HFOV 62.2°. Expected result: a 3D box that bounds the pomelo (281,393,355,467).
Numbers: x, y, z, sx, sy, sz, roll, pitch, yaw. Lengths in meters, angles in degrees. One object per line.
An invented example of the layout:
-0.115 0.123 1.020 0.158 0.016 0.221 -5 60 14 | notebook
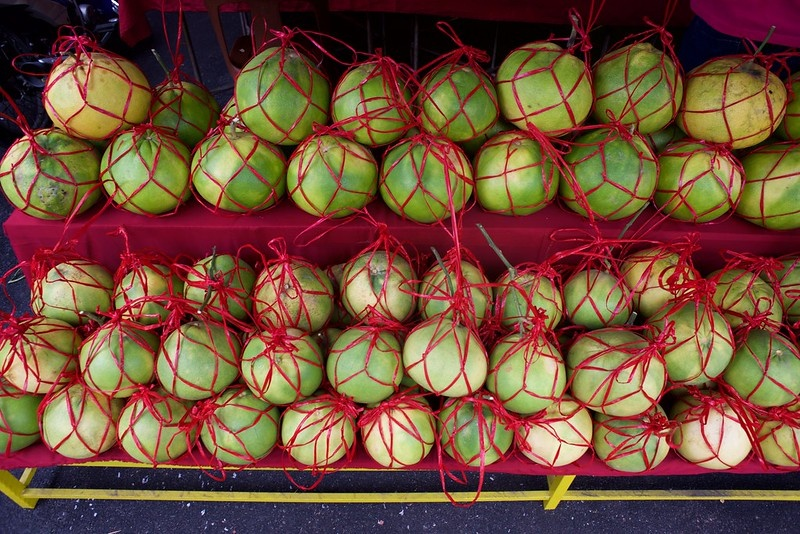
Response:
-0.255 0.523 2.123 0.247 0.199 0.166 -13 49 -7 | pomelo

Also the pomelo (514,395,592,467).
0.517 0.542 2.242 0.223 0.217 0.225 -13 28 22 | pomelo

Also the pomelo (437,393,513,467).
0.220 0.521 2.156 0.237 0.240 0.236 1 29 -2 | pomelo

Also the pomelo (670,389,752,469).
1.032 0.537 2.174 0.167 0.227 0.184 -22 8 19 | pomelo

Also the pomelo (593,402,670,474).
0.748 0.551 2.151 0.186 0.254 0.183 -7 21 -20 | pomelo

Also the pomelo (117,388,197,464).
-0.775 0.519 2.200 0.253 0.243 0.270 9 73 -17 | pomelo
